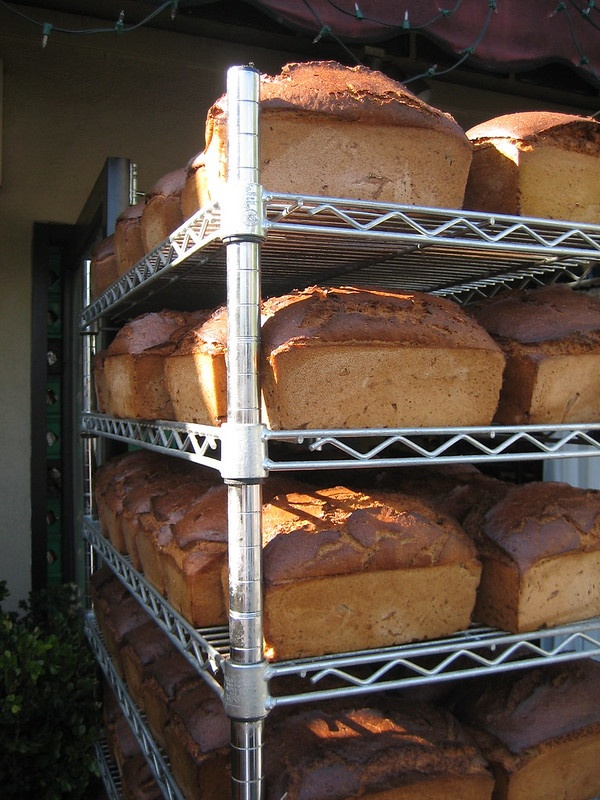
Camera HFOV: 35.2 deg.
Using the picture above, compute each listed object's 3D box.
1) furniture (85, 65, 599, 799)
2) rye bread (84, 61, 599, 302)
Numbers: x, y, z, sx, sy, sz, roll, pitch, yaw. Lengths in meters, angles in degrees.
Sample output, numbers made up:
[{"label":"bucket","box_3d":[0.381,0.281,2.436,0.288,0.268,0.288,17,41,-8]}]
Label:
[{"label":"furniture","box_3d":[-0.074,0.076,2.228,1.103,1.235,1.356,2,0,-18]},{"label":"rye bread","box_3d":[0.041,-0.451,1.812,0.677,0.221,0.634,1,-2,-23]}]
